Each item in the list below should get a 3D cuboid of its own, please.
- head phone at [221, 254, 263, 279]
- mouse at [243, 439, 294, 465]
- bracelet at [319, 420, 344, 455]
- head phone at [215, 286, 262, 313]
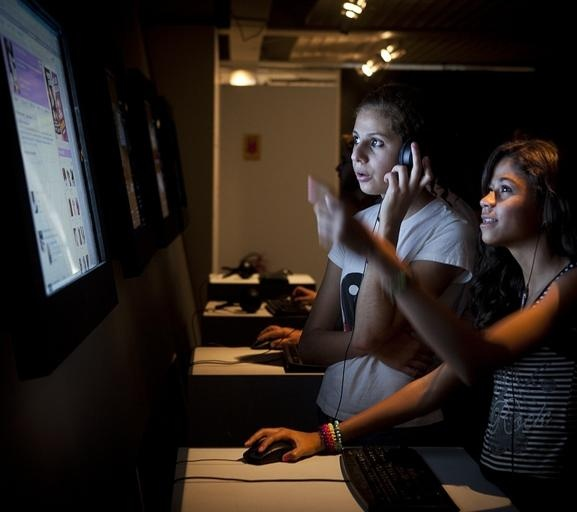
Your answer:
[{"bbox_3d":[-0.354,0.078,3.682,0.211,0.184,0.107,17,6,-14],"label":"head phone"},{"bbox_3d":[-0.048,0.460,1.110,0.083,0.032,0.051,3,-2,-17],"label":"mouse"},{"bbox_3d":[0.106,0.436,1.163,0.025,0.062,0.055,-25,31,32],"label":"bracelet"},{"bbox_3d":[-0.246,0.223,2.437,0.172,0.088,0.115,-7,9,2],"label":"head phone"}]
